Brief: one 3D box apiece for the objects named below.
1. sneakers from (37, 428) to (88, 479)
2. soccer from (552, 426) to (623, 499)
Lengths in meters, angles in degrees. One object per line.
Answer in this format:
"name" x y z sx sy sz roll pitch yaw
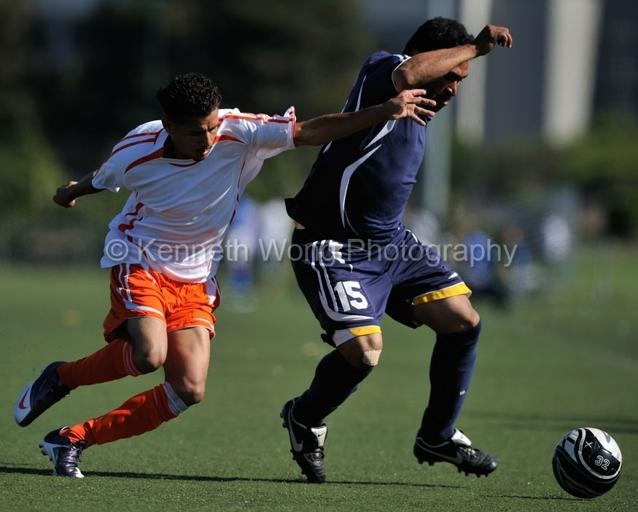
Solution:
"sneakers" -1.717 1.320 6.510 0.337 0.282 0.197 6 18 11
"soccer" 1.781 1.406 6.505 0.487 0.495 0.488 -2 -26 34
